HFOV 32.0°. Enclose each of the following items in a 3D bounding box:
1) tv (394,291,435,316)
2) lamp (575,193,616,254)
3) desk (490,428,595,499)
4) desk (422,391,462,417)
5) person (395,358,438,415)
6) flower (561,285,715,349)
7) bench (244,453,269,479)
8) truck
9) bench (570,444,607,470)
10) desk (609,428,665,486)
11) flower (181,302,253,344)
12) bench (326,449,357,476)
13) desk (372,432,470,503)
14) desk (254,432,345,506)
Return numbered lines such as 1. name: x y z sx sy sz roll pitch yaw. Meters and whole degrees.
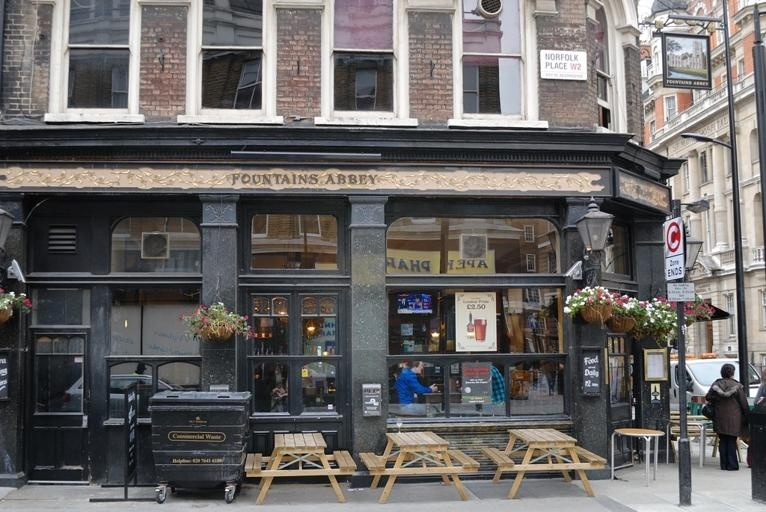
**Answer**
1. tv: 0.703 1.090 30.200 0.808 0.475 0.140 -2 -11 -1
2. lamp: 4.743 -0.643 29.579 1.110 1.709 1.095 1 -2 -11
3. desk: 3.407 4.338 29.020 3.090 1.649 1.639 -8 -2 38
4. desk: 1.320 3.356 30.201 0.666 0.372 0.642 -1 -6 10
5. person: 0.719 3.156 30.343 0.968 1.517 0.677 -3 6 -30
6. flower: 5.569 1.271 30.329 2.912 1.096 1.255 5 -13 -34
7. bench: -2.702 4.472 28.427 0.507 0.096 0.538 0 13 -2
8. truck: 8.929 3.513 36.558 1.859 1.327 2.640 1 -17 -3
9. bench: 4.514 4.378 29.026 0.625 0.497 1.162 -3 -11 8
10. desk: 5.821 4.573 30.192 1.279 1.265 1.405 -7 -9 43
11. flower: -3.756 1.450 29.604 1.076 1.088 0.918 -1 3 -22
12. bench: -0.904 4.484 28.809 0.664 0.252 1.140 0 -1 -8
13. desk: 0.698 4.575 29.061 2.370 1.569 1.866 -1 -11 -1
14. desk: -1.930 4.559 28.755 2.063 1.523 1.523 -1 -11 -5
